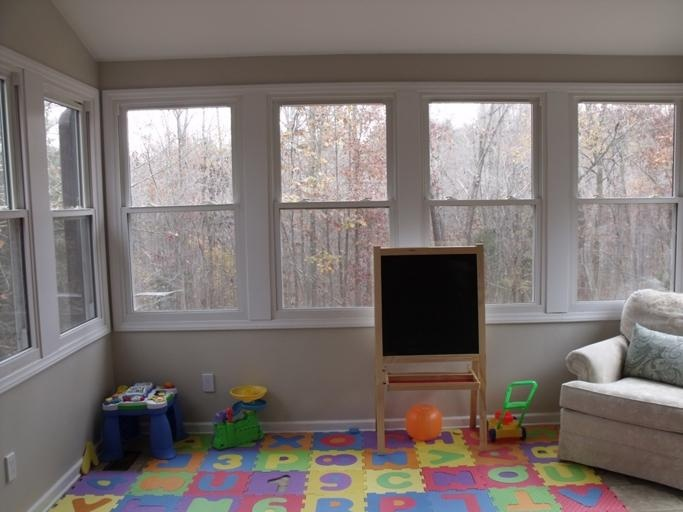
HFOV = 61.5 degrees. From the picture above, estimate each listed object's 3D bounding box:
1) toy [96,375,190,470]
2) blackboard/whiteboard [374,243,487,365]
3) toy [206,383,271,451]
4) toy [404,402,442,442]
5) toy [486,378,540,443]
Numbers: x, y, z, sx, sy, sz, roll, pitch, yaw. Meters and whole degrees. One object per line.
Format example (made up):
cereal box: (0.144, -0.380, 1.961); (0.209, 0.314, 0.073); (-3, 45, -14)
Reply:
toy: (-1.434, 1.174, 4.142); (0.552, 0.449, 0.495); (-1, -3, 5)
blackboard/whiteboard: (0.626, 0.340, 4.055); (0.809, 0.965, 0.044); (-1, 1, 2)
toy: (-0.743, 1.183, 4.226); (0.428, 0.369, 0.270); (1, -2, -39)
toy: (0.613, 1.229, 4.225); (0.258, 0.244, 0.260); (3, 11, 27)
toy: (1.290, 1.105, 4.266); (0.353, 0.441, 0.448); (1, 6, 19)
